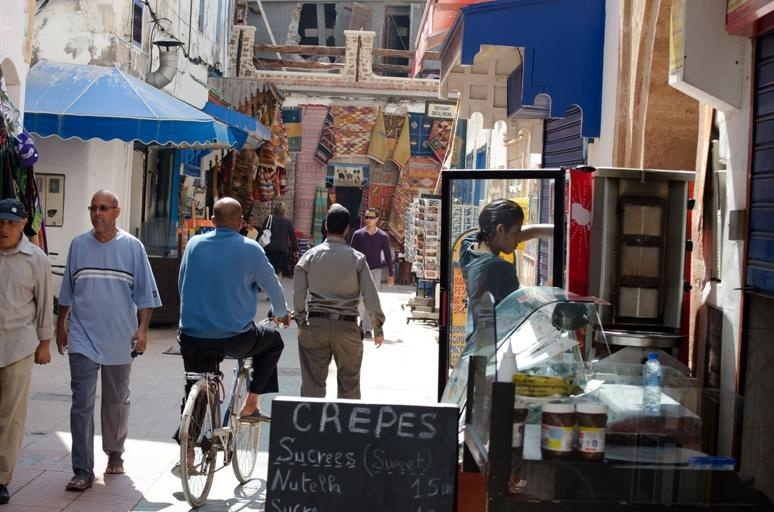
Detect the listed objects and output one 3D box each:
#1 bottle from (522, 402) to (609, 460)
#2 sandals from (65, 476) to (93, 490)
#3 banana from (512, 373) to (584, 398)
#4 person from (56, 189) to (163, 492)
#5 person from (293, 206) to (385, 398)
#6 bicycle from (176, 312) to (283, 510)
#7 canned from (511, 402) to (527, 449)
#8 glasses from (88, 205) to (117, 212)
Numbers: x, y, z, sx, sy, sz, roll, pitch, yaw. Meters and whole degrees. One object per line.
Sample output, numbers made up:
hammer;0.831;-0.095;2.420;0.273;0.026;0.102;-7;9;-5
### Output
bottle;1.067;1.046;4.835;0.486;0.377;0.281;0;-1;13
sandals;-2.633;1.928;6.802;0.096;0.111;0.254;0;-11;8
banana;0.972;0.800;4.908;0.335;0.091;0.202;3;2;-7
person;-2.469;0.706;7.000;0.793;2.511;0.589;0;7;-25
person;-0.482;0.619;7.734;0.860;2.254;0.558;4;20;4
bicycle;-1.560;1.412;7.229;0.789;1.132;1.762;1;9;11
canned;0.794;1.010;4.802;0.108;0.275;0.042;1;7;-22
glasses;-2.514;-0.406;6.964;0.230;0.064;0.111;5;7;10
